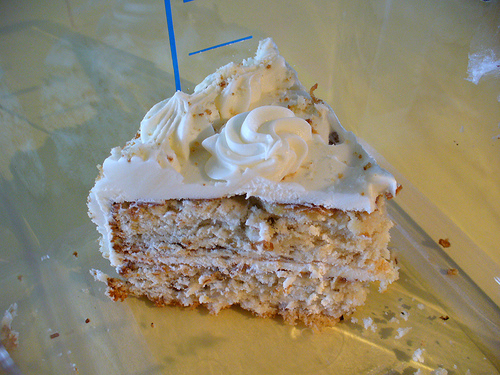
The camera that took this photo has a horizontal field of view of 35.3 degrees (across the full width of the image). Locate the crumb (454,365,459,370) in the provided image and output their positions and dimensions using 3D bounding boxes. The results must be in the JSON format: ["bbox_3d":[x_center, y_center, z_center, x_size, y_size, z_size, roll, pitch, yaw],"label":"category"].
[{"bbox_3d":[1.280,1.117,4.861,0.021,0.005,0.021,-18,70,39],"label":"crumb"}]

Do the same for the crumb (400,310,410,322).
[{"bbox_3d":[1.004,0.832,5.047,0.048,0.013,0.050,-9,66,1],"label":"crumb"}]

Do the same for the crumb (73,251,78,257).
[{"bbox_3d":[-1.175,0.449,5.288,0.028,0.013,0.028,6,76,-5],"label":"crumb"}]

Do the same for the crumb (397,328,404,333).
[{"bbox_3d":[0.960,0.910,4.991,0.040,0.006,0.028,-26,57,-7],"label":"crumb"}]

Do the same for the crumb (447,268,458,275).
[{"bbox_3d":[1.340,0.560,5.179,0.042,0.018,0.039,-4,65,6],"label":"crumb"}]

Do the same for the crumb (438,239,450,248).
[{"bbox_3d":[1.310,0.377,5.269,0.050,0.013,0.050,0,61,23],"label":"crumb"}]

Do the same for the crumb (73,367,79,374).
[{"bbox_3d":[-1.074,1.138,4.858,0.025,0.009,0.040,-19,56,-2],"label":"crumb"}]

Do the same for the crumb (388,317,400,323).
[{"bbox_3d":[0.926,0.853,5.030,0.034,0.008,0.035,20,52,19],"label":"crumb"}]

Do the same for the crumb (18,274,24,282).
[{"bbox_3d":[-1.495,0.595,5.116,0.029,0.012,0.042,-12,56,2],"label":"crumb"}]
